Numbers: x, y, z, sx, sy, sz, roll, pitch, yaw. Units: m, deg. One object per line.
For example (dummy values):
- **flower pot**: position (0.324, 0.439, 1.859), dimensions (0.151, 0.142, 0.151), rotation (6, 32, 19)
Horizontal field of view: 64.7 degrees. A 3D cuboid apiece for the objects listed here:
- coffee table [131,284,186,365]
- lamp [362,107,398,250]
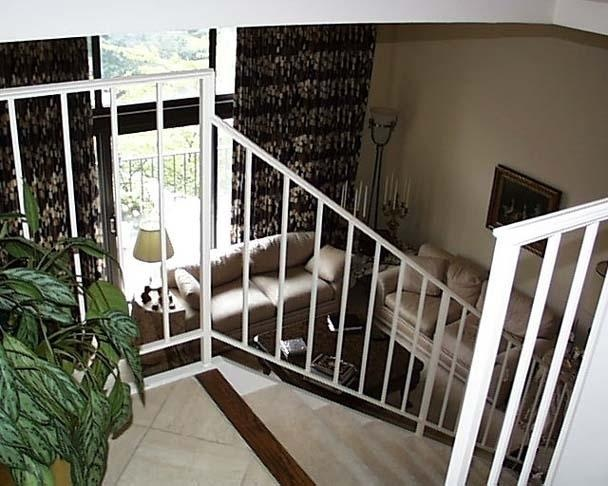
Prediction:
- **coffee table**: position (-1.187, 0.678, 3.919), dimensions (0.320, 0.640, 0.622), rotation (-15, 26, -41)
- **lamp**: position (1.021, -0.897, 6.452), dimensions (0.421, 1.773, 1.310), rotation (4, 19, 7)
